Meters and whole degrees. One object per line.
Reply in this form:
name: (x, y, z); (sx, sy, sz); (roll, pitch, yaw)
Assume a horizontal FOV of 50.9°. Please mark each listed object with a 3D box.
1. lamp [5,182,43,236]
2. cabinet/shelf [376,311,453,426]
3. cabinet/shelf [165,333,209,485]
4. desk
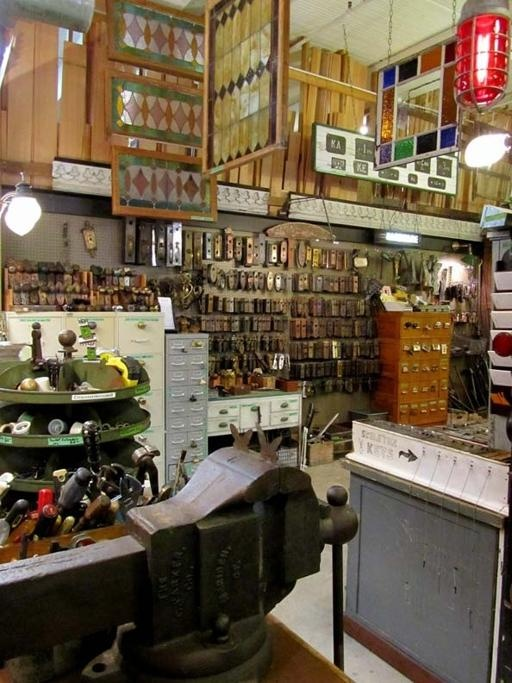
lamp: (-1.542, -0.892, 3.567); (0.202, 0.374, 0.361); (-7, 1, -21)
cabinet/shelf: (2.269, 0.414, 7.722); (1.079, 1.452, 0.523); (-7, 1, -21)
cabinet/shelf: (-0.709, 0.659, 5.363); (0.589, 1.457, 0.337); (-7, 1, -21)
desk: (-0.007, 1.041, 6.292); (1.288, 0.828, 0.652); (-7, 1, -21)
